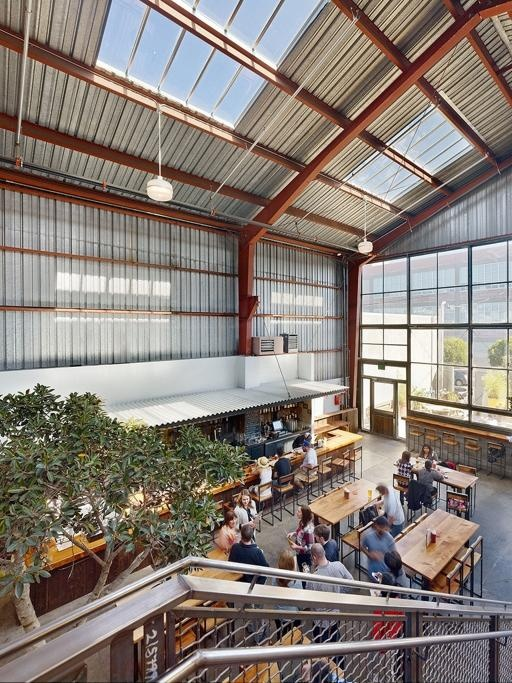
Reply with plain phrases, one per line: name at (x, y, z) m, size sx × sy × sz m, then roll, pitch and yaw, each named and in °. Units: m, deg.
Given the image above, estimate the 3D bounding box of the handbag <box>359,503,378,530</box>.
handbag at (1.500, 2.323, 5.945) m, size 0.106 × 0.304 × 0.228 m, roll 16°, pitch -10°, yaw -39°

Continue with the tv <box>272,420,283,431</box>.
tv at (0.449, 1.831, 9.805) m, size 0.033 × 0.176 × 0.245 m, roll -12°, pitch -12°, yaw 40°

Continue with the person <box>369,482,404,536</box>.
person at (1.846, 2.446, 6.141) m, size 0.375 × 1.083 × 0.379 m, roll -2°, pitch 24°, yaw 18°
